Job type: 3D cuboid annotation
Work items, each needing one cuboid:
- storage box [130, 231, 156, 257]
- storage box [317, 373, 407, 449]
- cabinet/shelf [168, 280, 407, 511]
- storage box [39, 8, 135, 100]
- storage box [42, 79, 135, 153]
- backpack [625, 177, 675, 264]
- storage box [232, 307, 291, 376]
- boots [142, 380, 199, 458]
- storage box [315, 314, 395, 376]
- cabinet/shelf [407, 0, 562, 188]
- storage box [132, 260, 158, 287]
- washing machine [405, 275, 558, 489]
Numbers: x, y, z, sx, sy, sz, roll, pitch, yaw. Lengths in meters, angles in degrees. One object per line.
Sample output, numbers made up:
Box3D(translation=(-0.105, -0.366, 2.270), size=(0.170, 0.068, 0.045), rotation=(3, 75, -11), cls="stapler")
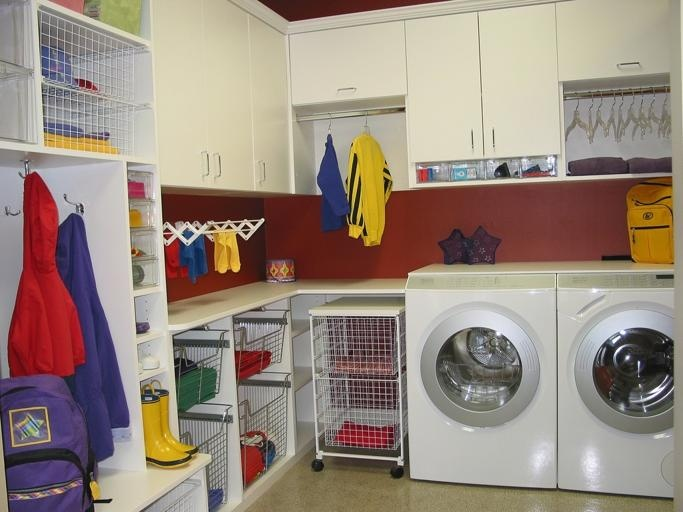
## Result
Box3D(translation=(-0.949, -0.060, 2.585), size=(0.086, 0.151, 0.158), rotation=(2, 2, 24), cls="storage box")
Box3D(translation=(0.144, 1.134, 3.792), size=(0.615, 0.612, 0.483), rotation=(3, -5, -11), cls="storage box")
Box3D(translation=(-0.424, 0.572, 3.539), size=(0.980, 1.332, 1.807), rotation=(0, 4, 18), cls="cabinet/shelf")
Box3D(translation=(-1.143, -0.780, 2.416), size=(0.246, 0.319, 0.472), rotation=(-1, 0, 25), cls="storage box")
Box3D(translation=(-1.105, -0.603, 2.407), size=(0.400, 0.290, 0.337), rotation=(-6, 8, -28), cls="storage box")
Box3D(translation=(1.982, -0.224, 3.476), size=(0.251, 0.538, 0.277), rotation=(1, 7, 30), cls="backpack")
Box3D(translation=(-0.540, 0.574, 3.383), size=(0.372, 0.421, 0.526), rotation=(-2, 7, 7), cls="storage box")
Box3D(translation=(-0.844, 0.806, 2.580), size=(0.258, 0.377, 0.195), rotation=(-1, 0, 8), cls="boots")
Box3D(translation=(0.082, 0.603, 3.641), size=(0.443, 0.371, 0.261), rotation=(0, 2, 25), cls="storage box")
Box3D(translation=(0.968, -1.117, 3.575), size=(1.006, 1.071, 0.413), rotation=(-1, 1, 17), cls="cabinet/shelf")
Box3D(translation=(-0.936, 0.069, 2.591), size=(0.093, 0.146, 0.139), rotation=(2, 1, 17), cls="storage box")
Box3D(translation=(0.824, 0.722, 3.693), size=(1.000, 1.666, 1.062), rotation=(0, -1, 16), cls="washing machine")
